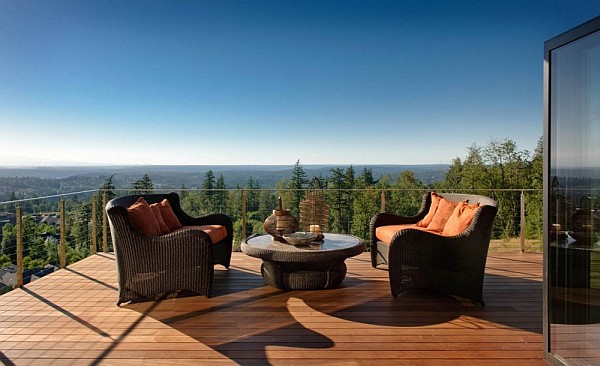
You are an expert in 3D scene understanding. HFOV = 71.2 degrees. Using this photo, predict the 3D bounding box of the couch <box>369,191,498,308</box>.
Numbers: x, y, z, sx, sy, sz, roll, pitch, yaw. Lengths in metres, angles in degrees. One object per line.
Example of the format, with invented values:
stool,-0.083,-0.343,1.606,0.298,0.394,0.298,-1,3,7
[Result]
couch,1.964,0.903,6.465,1.736,1.515,1.285,0,1,7

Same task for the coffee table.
coffee table,0.061,1.191,6.248,1.741,0.762,0.768,0,1,2

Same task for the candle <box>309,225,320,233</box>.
candle,0.226,0.709,6.597,0.129,0.110,0.124,1,13,7

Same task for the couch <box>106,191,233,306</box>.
couch,-1.968,0.886,6.594,1.756,1.338,1.735,0,5,1

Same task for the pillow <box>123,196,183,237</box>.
pillow,-2.155,0.510,6.186,0.480,0.468,1.115,13,2,11
